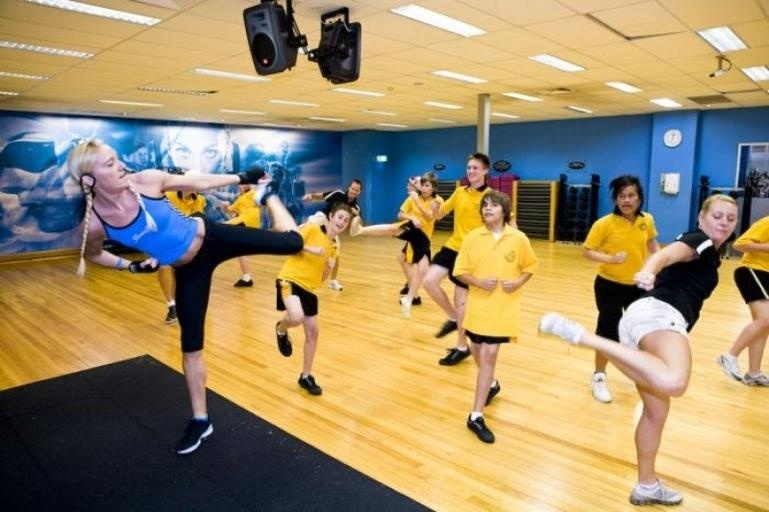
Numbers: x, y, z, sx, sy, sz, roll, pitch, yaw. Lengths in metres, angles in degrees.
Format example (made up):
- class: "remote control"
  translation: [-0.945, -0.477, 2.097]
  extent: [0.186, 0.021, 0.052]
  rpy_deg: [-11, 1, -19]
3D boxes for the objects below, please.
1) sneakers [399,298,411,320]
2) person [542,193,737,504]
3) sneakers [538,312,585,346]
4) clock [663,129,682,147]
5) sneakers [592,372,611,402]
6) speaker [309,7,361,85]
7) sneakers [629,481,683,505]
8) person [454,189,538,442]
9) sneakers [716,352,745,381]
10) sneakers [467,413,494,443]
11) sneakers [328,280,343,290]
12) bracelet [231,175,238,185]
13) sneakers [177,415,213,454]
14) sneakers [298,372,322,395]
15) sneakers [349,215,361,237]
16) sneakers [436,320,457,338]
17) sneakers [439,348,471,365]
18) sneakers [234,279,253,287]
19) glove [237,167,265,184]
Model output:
- class: "sneakers"
  translation: [0.251, 0.618, 5.580]
  extent: [0.127, 0.284, 0.113]
  rpy_deg: [-15, -7, 38]
- class: "person"
  translation: [1.713, 0.653, 3.064]
  extent: [0.650, 2.043, 1.259]
  rpy_deg: [12, 20, 43]
- class: "sneakers"
  translation: [1.088, 0.443, 2.825]
  extent: [0.256, 0.151, 0.107]
  rpy_deg: [24, -1, 16]
- class: "clock"
  translation: [6.821, -2.799, 10.926]
  extent: [0.399, 0.417, 0.111]
  rpy_deg: [6, 17, 28]
- class: "sneakers"
  translation: [1.981, 1.208, 4.228]
  extent: [0.114, 0.123, 0.323]
  rpy_deg: [-3, 3, 7]
- class: "speaker"
  translation: [-0.493, -2.045, 4.604]
  extent: [0.503, 0.567, 0.167]
  rpy_deg: [-3, 15, -2]
- class: "sneakers"
  translation: [1.834, 1.611, 3.183]
  extent: [0.357, 0.139, 0.149]
  rpy_deg: [-1, 2, 1]
- class: "person"
  translation: [0.857, 0.457, 3.777]
  extent: [0.602, 1.933, 0.758]
  rpy_deg: [7, 17, 31]
- class: "sneakers"
  translation: [3.401, 1.100, 4.548]
  extent: [0.109, 0.135, 0.268]
  rpy_deg: [-25, 62, -7]
- class: "sneakers"
  translation: [0.764, 1.384, 3.747]
  extent: [0.126, 0.100, 0.259]
  rpy_deg: [-14, 21, -30]
- class: "sneakers"
  translation: [-0.817, 0.491, 7.735]
  extent: [0.122, 0.123, 0.289]
  rpy_deg: [-4, -3, -27]
- class: "bracelet"
  translation: [-1.146, -0.592, 3.562]
  extent: [0.063, 0.064, 0.066]
  rpy_deg: [1, -9, -3]
- class: "sneakers"
  translation: [-1.433, 1.343, 3.499]
  extent: [0.126, 0.135, 0.322]
  rpy_deg: [8, 13, 19]
- class: "sneakers"
  translation: [-0.710, 1.201, 4.370]
  extent: [0.130, 0.101, 0.249]
  rpy_deg: [-7, 17, -41]
- class: "sneakers"
  translation: [-0.302, -0.309, 4.563]
  extent: [0.059, 0.215, 0.131]
  rpy_deg: [39, 60, 22]
- class: "sneakers"
  translation: [0.703, 0.827, 5.153]
  extent: [0.129, 0.143, 0.396]
  rpy_deg: [-6, 5, 44]
- class: "sneakers"
  translation: [0.744, 1.062, 4.925]
  extent: [0.370, 0.134, 0.145]
  rpy_deg: [-17, 7, -25]
- class: "sneakers"
  translation: [-2.421, 0.452, 7.878]
  extent: [0.261, 0.095, 0.135]
  rpy_deg: [0, 0, -14]
- class: "glove"
  translation: [-1.017, -0.621, 3.576]
  extent: [0.213, 0.052, 0.098]
  rpy_deg: [-14, 57, -17]
